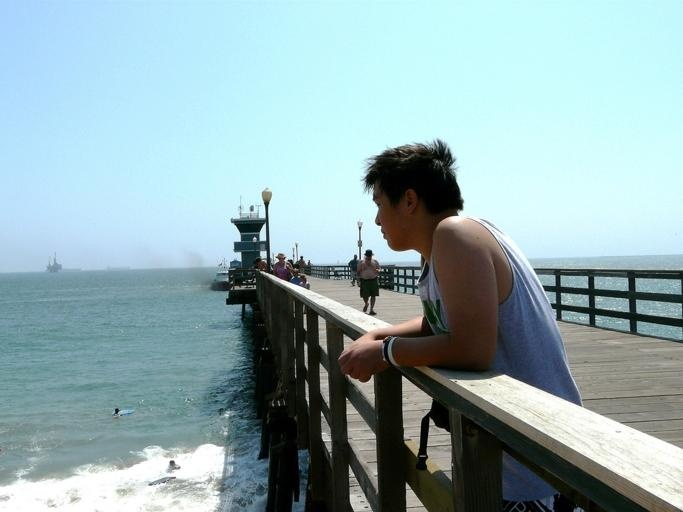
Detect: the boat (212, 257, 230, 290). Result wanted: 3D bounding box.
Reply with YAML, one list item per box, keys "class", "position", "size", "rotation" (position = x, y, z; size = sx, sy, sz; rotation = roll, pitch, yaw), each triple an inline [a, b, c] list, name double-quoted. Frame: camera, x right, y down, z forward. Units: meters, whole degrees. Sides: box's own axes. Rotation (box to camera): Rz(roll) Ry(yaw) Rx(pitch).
- class: "boat"
  position: [-20.461, 3.784, 90.465]
  size: [2.871, 5.553, 11.817]
  rotation: [0, -7, -7]

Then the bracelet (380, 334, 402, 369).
- class: "bracelet"
  position: [0.163, 0.314, 1.813]
  size: [0.059, 0.103, 0.102]
  rotation: [-7, 26, 15]

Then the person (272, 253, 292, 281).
- class: "person"
  position: [-1.806, 0.329, 16.524]
  size: [0.502, 0.815, 0.761]
  rotation: [-3, 0, -9]

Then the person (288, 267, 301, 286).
- class: "person"
  position: [-1.429, 0.654, 16.917]
  size: [0.534, 0.507, 1.101]
  rotation: [-1, -1, -15]

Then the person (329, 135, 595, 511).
- class: "person"
  position: [0.443, 0.288, 2.686]
  size: [1.102, 2.247, 0.955]
  rotation: [-5, -4, 17]
